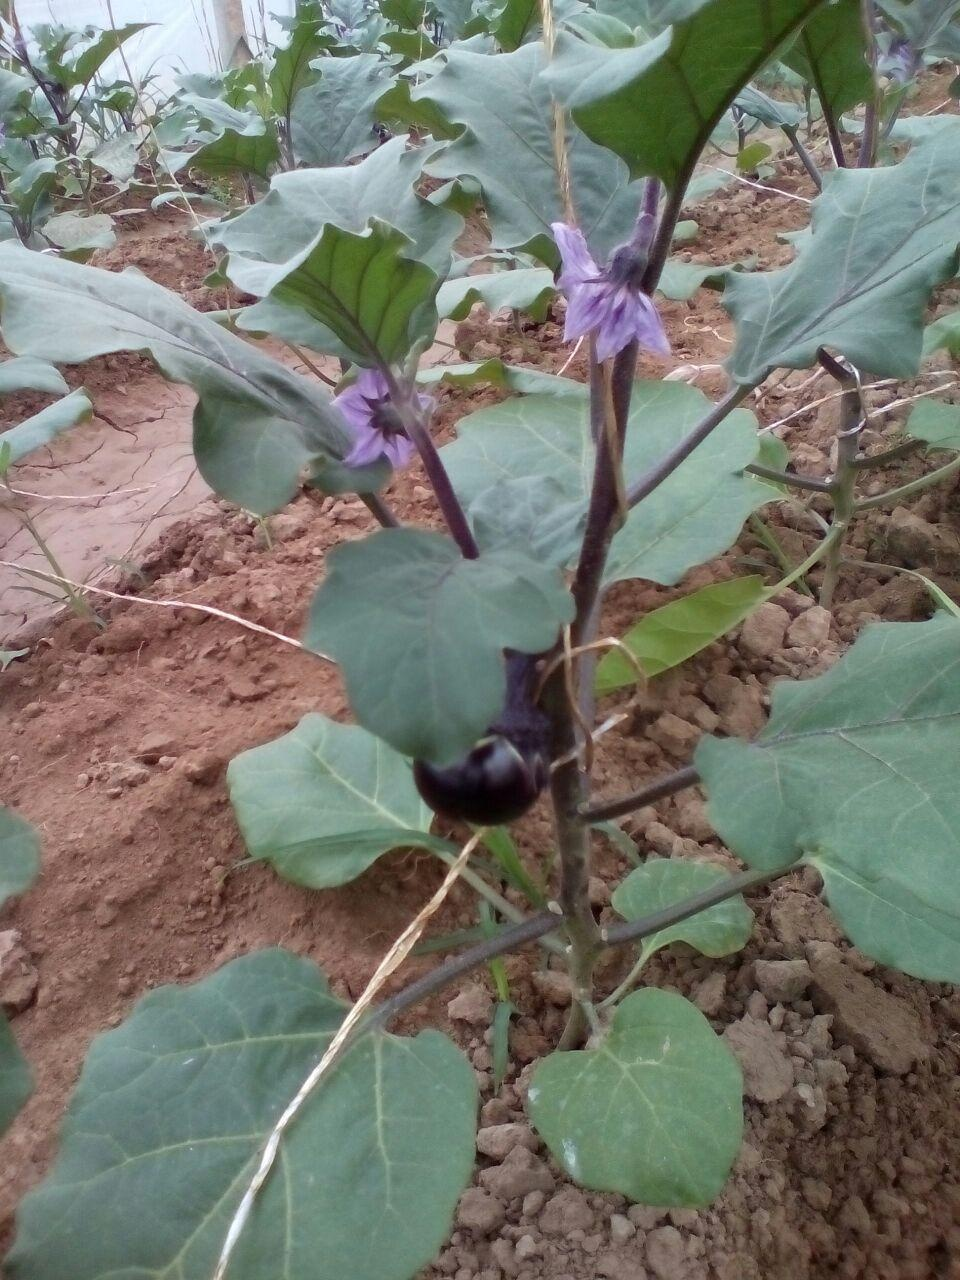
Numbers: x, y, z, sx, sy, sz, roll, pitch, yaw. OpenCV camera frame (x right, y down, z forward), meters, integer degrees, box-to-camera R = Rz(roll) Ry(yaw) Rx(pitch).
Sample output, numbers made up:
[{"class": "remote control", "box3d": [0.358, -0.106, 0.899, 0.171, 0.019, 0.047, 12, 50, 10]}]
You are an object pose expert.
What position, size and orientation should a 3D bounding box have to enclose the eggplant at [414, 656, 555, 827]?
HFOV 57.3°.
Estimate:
[{"class": "eggplant", "box3d": [0.010, 0.071, 0.660, 0.096, 0.073, 0.163, 1, 60, 20]}]
